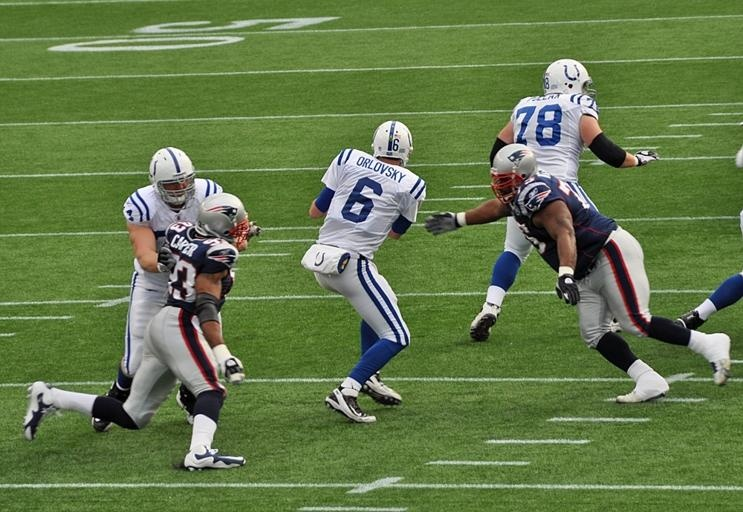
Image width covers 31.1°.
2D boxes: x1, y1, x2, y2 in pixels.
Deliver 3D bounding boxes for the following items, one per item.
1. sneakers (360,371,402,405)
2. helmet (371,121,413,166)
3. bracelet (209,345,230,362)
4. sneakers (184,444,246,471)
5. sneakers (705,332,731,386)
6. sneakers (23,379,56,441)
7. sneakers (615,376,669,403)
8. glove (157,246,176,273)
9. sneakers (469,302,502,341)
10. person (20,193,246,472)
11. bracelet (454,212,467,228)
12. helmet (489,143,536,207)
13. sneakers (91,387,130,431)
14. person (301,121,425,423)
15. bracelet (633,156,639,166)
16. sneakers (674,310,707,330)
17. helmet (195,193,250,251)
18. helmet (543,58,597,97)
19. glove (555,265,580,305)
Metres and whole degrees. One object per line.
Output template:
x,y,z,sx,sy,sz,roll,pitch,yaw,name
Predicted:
0.056,1.062,10.615,0.341,0.102,0.176,29,38,-3,sneakers
0.195,-0.935,10.789,0.321,0.261,0.352,11,15,5,helmet
-1.108,0.703,9.642,0.081,0.085,0.115,-27,53,-18,bracelet
-1.169,1.487,9.820,0.556,0.187,0.162,1,2,-9,sneakers
2.721,0.816,10.484,0.153,0.387,0.196,-4,0,38,sneakers
-2.463,1.142,10.043,0.265,0.451,0.183,12,1,6,sneakers
2.048,1.058,10.543,0.524,0.197,0.151,-8,9,8,sneakers
-1.519,0.026,10.003,0.161,0.184,0.076,16,33,26,glove
0.973,0.564,11.611,0.180,0.403,0.211,37,40,-1,sneakers
-1.569,0.523,9.840,1.450,1.971,0.781,5,13,2,person
0.713,-0.314,10.868,0.112,0.075,0.109,-7,-6,8,bracelet
1.104,-0.652,10.502,0.352,0.460,0.233,6,12,7,helmet
-1.981,1.175,10.132,0.169,0.109,0.332,-3,42,50,sneakers
-0.101,0.083,10.559,0.913,2.281,1.052,4,12,-2,person
2.215,-0.822,11.323,0.063,0.067,0.069,-9,-31,5,bracelet
2.701,0.546,11.387,0.116,0.151,0.337,54,13,14,sneakers
-1.133,-0.296,9.945,0.469,0.345,0.333,13,25,-22,helmet
1.700,-1.578,11.766,0.489,0.303,0.314,-5,21,1,helmet
1.486,0.225,10.237,0.203,0.279,0.101,-19,-25,6,glove
